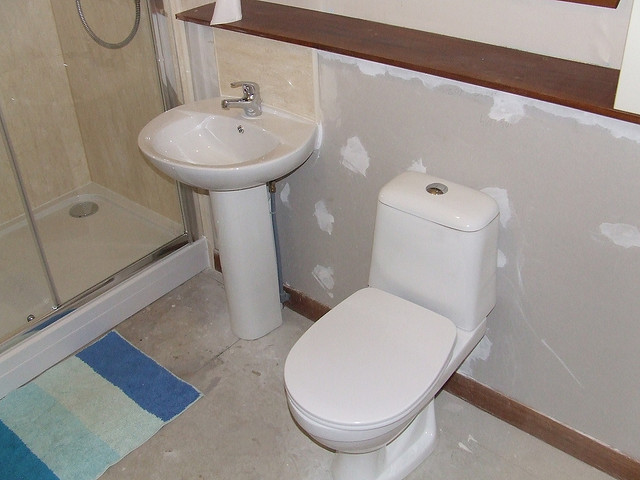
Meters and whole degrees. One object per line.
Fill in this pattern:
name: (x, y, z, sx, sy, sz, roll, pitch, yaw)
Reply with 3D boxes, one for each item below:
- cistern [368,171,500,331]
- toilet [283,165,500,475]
cistern: (0.365, -0.001, 1.679, 0.400, 0.394, 0.234, 20, 44, 28)
toilet: (0.255, 0.268, 1.641, 0.424, 0.845, 0.740, 27, 46, 33)
